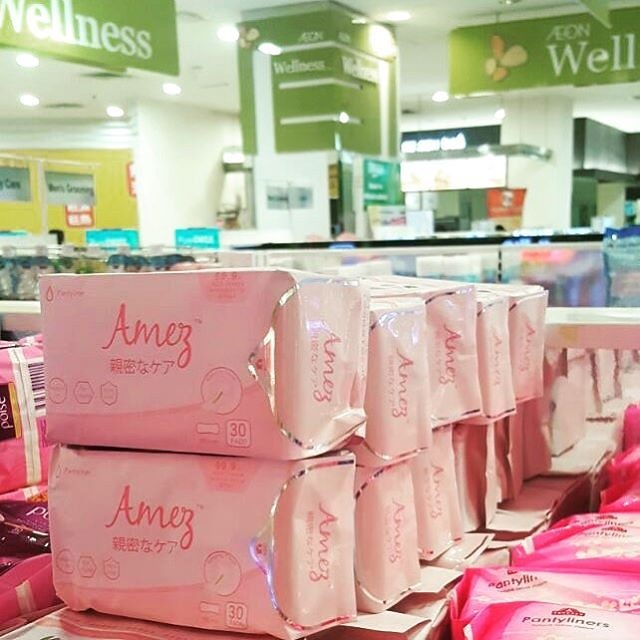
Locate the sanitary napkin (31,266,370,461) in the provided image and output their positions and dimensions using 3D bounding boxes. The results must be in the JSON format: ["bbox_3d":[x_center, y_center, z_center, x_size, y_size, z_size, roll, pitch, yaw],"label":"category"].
[{"bbox_3d":[-0.134,0.038,0.631,0.305,0.197,0.187,2,5,25],"label":"sanitary napkin"}]
